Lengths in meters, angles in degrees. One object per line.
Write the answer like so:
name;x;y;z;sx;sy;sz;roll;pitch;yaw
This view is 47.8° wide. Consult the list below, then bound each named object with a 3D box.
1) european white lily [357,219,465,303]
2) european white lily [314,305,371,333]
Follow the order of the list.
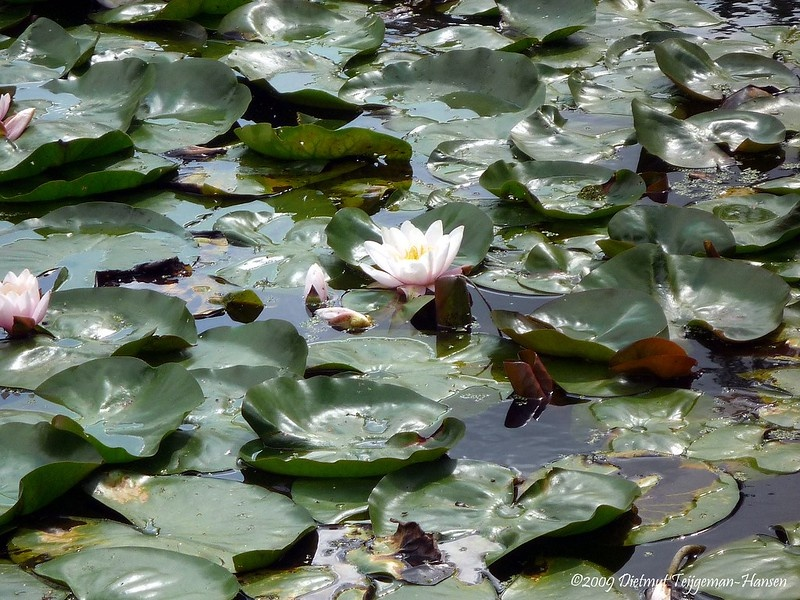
european white lily;0.098;-0.105;2.418;0.289;0.098;0.260;17;48;37
european white lily;-0.149;0.043;2.297;0.153;0.052;0.079;5;24;10
